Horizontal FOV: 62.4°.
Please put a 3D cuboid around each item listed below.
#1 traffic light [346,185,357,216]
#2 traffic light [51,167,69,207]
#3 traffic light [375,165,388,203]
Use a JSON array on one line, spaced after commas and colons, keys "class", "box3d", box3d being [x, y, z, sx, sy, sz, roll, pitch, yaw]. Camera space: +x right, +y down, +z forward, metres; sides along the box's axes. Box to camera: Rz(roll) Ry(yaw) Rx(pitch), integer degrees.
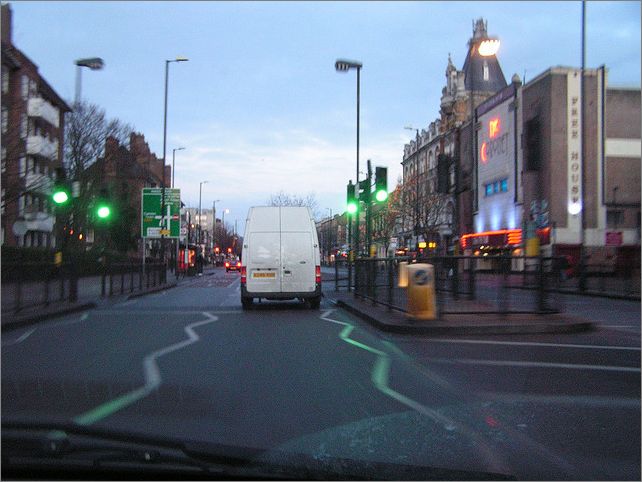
[{"class": "traffic light", "box3d": [1.326, -1.735, 22.111, 0.452, 1.140, 0.985, 0, -1, 3]}, {"class": "traffic light", "box3d": [-7.756, -1.658, 15.805, 0.426, 1.193, 0.615, 0, -1, -29]}, {"class": "traffic light", "box3d": [2.035, -1.921, 17.887, 0.370, 1.155, 0.688, 0, -1, -2]}]
